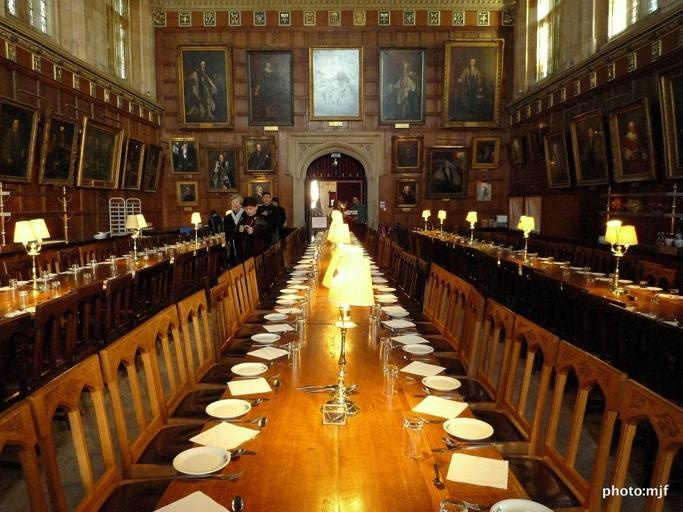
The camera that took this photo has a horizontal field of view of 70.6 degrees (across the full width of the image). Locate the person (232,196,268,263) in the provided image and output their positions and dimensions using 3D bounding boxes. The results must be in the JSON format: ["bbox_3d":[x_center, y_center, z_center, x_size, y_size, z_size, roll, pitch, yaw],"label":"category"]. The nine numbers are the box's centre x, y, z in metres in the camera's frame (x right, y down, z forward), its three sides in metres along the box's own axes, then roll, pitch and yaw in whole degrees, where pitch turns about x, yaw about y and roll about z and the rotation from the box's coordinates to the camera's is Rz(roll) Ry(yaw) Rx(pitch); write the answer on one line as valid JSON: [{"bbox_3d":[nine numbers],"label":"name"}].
[{"bbox_3d":[-1.465,-0.307,7.843,0.505,1.323,0.485,0,32,-6],"label":"person"}]

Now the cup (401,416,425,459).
[{"bbox_3d":[0.347,0.857,2.279,0.137,0.181,0.109,-3,6,-8],"label":"cup"}]

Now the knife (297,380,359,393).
[{"bbox_3d":[-0.080,0.755,2.783,0.327,0.065,0.076,-5,15,11],"label":"knife"}]

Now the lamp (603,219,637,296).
[{"bbox_3d":[3.198,0.001,5.587,0.458,0.799,0.482,4,5,17],"label":"lamp"}]

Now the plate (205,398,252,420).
[{"bbox_3d":[-0.603,0.822,2.593,0.135,0.025,0.139,2,8,-19],"label":"plate"}]

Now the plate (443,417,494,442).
[{"bbox_3d":[0.643,0.883,2.456,0.143,0.022,0.148,3,8,27],"label":"plate"}]

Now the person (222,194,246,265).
[{"bbox_3d":[-1.722,-0.364,7.827,0.418,1.458,0.386,-2,45,-15],"label":"person"}]

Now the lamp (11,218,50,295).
[{"bbox_3d":[-3.172,-0.003,4.988,0.322,0.723,0.196,-5,-2,-31],"label":"lamp"}]
